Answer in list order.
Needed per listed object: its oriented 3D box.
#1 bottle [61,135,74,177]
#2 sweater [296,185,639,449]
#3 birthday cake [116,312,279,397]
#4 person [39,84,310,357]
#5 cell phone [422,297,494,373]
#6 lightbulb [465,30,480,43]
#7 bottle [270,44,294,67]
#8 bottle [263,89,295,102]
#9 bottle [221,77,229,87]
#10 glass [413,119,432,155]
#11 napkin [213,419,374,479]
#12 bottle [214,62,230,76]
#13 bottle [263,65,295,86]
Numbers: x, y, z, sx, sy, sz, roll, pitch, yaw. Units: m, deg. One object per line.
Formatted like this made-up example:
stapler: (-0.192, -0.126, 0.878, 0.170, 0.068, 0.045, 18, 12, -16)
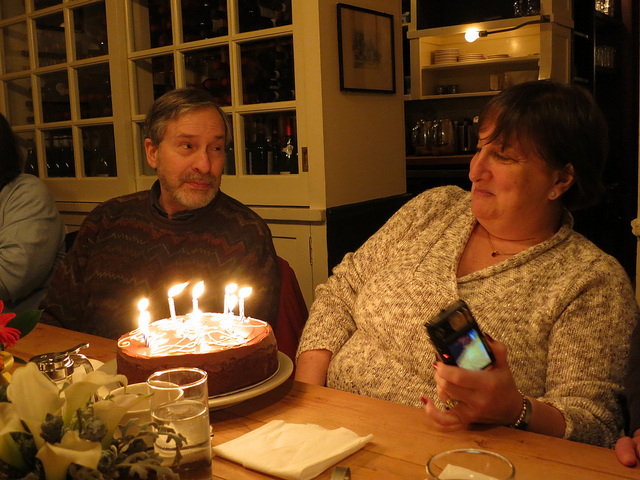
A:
bottle: (-1.773, -0.604, 3.665, 0.082, 0.354, 0.034, -4, 42, -28)
sweater: (0.460, 0.204, 1.473, 0.654, 0.361, 0.844, -2, 6, -40)
birthday cake: (-0.304, 0.273, 1.284, 0.348, 0.106, 0.330, -9, 12, -41)
person: (-0.615, -0.031, 2.196, 1.112, 1.120, 0.615, 12, 12, 10)
cell phone: (0.288, 0.214, 1.071, 0.121, 0.175, 0.038, -29, 29, -11)
lightbulb: (1.294, -1.757, 4.500, 0.141, 0.121, 0.116, 2, 13, 28)
bottle: (-0.199, -0.955, 2.724, 0.165, 0.109, 0.009, 6, 10, 37)
bottle: (-0.213, -0.756, 2.765, 0.186, 0.063, 0.058, -3, 12, 7)
bottle: (-0.533, -0.884, 2.924, 0.056, 0.046, 0.099, 1, 2, -11)
glass: (1.056, -1.059, 5.438, 0.178, 0.339, 0.186, -1, 8, -5)
napkin: (-0.056, 0.405, 1.034, 0.251, 0.038, 0.206, 7, 12, 39)
bottle: (-0.550, -0.956, 2.926, 0.113, 0.073, 0.015, 7, 11, 38)
bottle: (-0.209, -0.864, 2.746, 0.158, 0.051, 0.041, 8, 36, 19)
